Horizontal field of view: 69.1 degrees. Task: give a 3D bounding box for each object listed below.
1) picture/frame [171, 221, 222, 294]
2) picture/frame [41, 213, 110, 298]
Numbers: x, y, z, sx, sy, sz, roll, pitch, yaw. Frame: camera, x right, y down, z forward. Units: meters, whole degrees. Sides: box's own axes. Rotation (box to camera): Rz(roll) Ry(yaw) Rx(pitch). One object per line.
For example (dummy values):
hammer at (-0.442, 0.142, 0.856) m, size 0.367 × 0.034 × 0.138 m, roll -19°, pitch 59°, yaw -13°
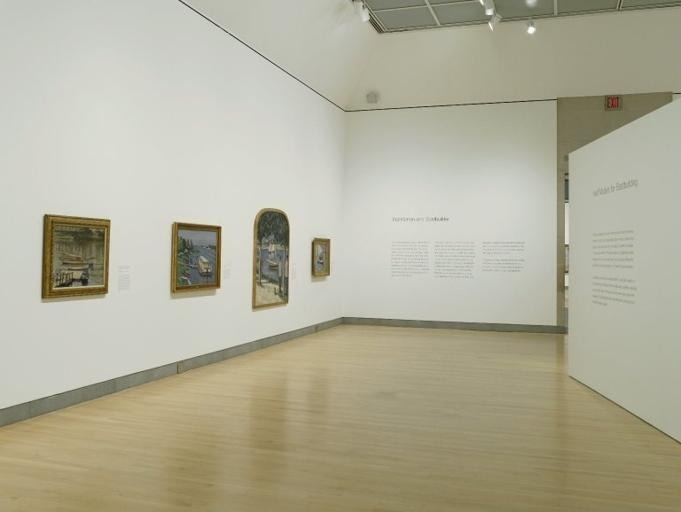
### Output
picture/frame at (-3.204, 0.043, 11.058) m, size 0.132 × 1.546 × 1.534 m, roll 2°, pitch 3°, yaw 25°
picture/frame at (-4.556, -0.008, 8.428) m, size 0.103 × 1.642 × 1.389 m, roll 1°, pitch 2°, yaw 24°
